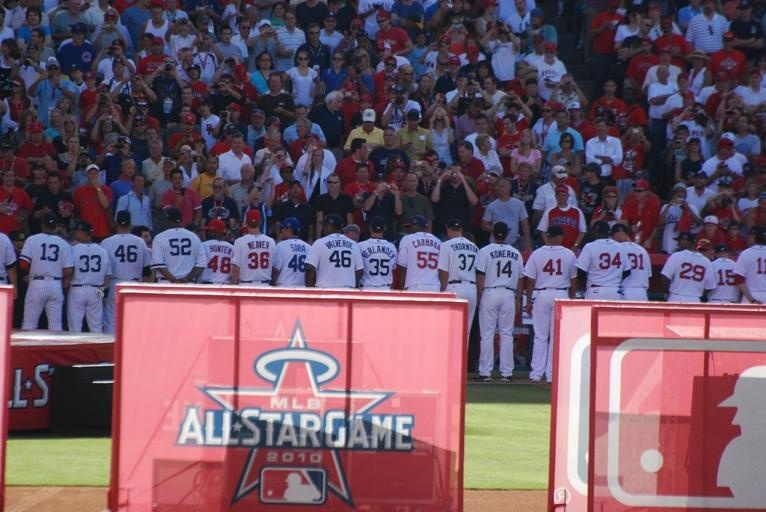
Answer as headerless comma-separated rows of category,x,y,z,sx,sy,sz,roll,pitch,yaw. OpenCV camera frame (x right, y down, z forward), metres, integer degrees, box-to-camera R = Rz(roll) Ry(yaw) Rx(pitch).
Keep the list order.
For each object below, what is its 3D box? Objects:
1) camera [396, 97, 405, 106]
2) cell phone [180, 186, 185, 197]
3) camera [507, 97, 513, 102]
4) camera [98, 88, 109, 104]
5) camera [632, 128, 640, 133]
camera,0.383,-3.275,39.666,0.112,0.159,0.281,-4,-7,39
cell phone,-3.968,-1.302,37.635,0.104,0.203,0.139,-5,-8,44
camera,2.682,-3.358,40.120,0.098,0.089,0.023,-3,-10,0
camera,-5.765,-3.323,39.227,0.235,0.247,0.434,-5,3,-14
camera,5.348,-2.688,40.030,0.105,0.096,0.025,1,-19,10
